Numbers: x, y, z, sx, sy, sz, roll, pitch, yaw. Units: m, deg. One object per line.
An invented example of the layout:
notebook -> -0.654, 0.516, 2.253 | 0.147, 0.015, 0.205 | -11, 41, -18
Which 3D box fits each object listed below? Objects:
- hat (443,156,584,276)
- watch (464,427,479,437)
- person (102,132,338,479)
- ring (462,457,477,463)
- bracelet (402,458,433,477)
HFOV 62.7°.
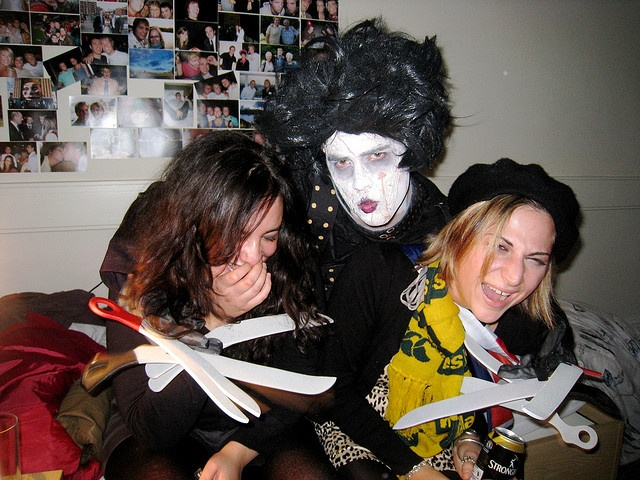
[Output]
hat -> 0.634, -0.133, 1.647 | 0.313, 0.384, 0.148 | -22, 4, 24
watch -> 0.460, 0.578, 1.594 | 0.039, 0.010, 0.035 | 13, 16, 30
person -> -0.323, 0.178, 1.569 | 0.739, 0.977, 0.501 | 3, 14, -5
ring -> 0.432, 0.636, 1.536 | 0.019, 0.010, 0.026 | 3, -6, -3
bracelet -> 0.282, 0.654, 1.520 | 0.058, 0.018, 0.047 | -38, 47, 0
